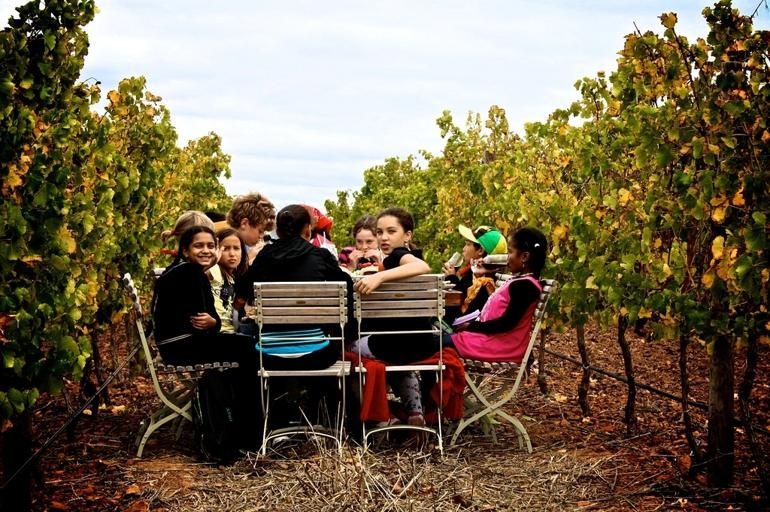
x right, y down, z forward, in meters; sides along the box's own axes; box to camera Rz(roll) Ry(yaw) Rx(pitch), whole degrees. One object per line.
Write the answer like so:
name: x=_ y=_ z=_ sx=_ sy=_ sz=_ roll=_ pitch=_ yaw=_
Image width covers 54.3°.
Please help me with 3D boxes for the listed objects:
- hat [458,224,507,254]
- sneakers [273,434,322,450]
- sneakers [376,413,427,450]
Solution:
hat: x=0.989 y=-0.163 z=7.490 sx=0.422 sy=0.225 sz=0.275 roll=28 pitch=11 yaw=10
sneakers: x=-0.789 y=1.611 z=6.488 sx=0.319 sy=0.082 sz=0.213 roll=2 pitch=-5 yaw=-4
sneakers: x=0.127 y=1.527 z=6.533 sx=0.364 sy=0.153 sz=0.277 roll=-4 pitch=-5 yaw=7
